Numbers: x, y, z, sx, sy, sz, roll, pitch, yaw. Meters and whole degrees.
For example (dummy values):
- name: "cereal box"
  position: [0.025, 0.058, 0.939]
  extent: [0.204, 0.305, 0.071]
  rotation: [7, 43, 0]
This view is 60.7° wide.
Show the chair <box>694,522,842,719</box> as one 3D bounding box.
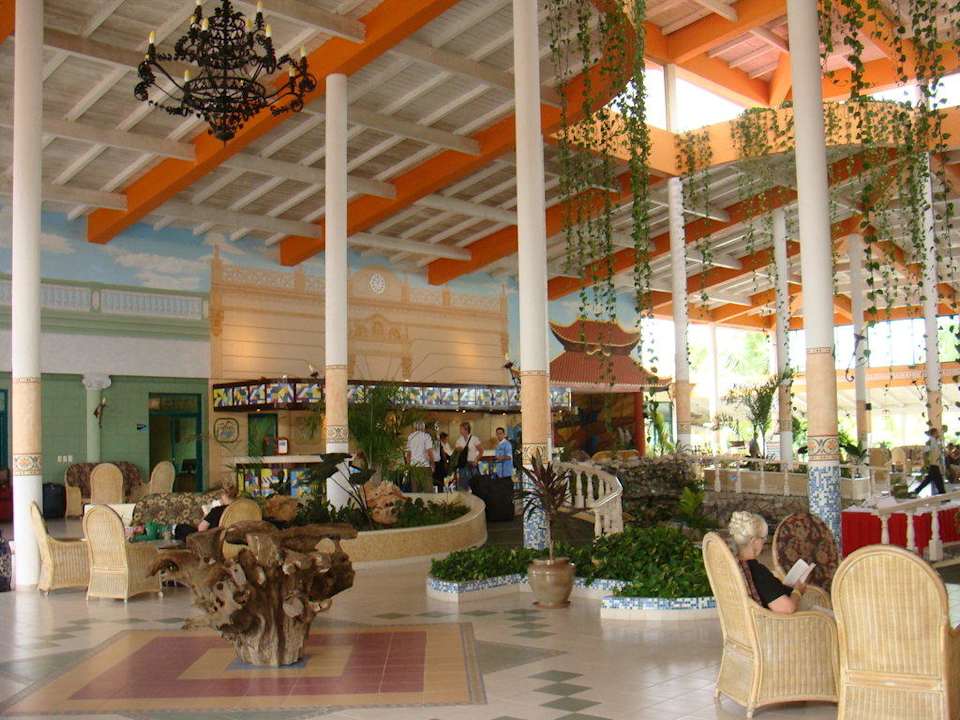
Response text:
- name: "chair"
  position: [2.116, 1.882, 6.297]
  extent: [1.191, 1.607, 1.013]
  rotation: [-2, -2, -14]

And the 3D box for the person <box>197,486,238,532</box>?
- name: "person"
  position: [-2.997, 1.663, 9.384]
  extent: [0.365, 0.520, 1.083]
  rotation: [-3, 0, -15]

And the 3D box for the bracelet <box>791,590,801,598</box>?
- name: "bracelet"
  position: [2.234, 1.661, 5.783]
  extent: [0.065, 0.046, 0.063]
  rotation: [-1, 2, -16]

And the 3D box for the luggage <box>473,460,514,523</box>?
- name: "luggage"
  position: [0.302, 2.685, 15.786]
  extent: [1.028, 1.045, 0.793]
  rotation: [-3, -4, 17]

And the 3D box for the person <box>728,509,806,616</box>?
- name: "person"
  position: [2.035, 1.447, 5.906]
  extent: [0.423, 0.662, 0.705]
  rotation: [-8, 4, -5]
